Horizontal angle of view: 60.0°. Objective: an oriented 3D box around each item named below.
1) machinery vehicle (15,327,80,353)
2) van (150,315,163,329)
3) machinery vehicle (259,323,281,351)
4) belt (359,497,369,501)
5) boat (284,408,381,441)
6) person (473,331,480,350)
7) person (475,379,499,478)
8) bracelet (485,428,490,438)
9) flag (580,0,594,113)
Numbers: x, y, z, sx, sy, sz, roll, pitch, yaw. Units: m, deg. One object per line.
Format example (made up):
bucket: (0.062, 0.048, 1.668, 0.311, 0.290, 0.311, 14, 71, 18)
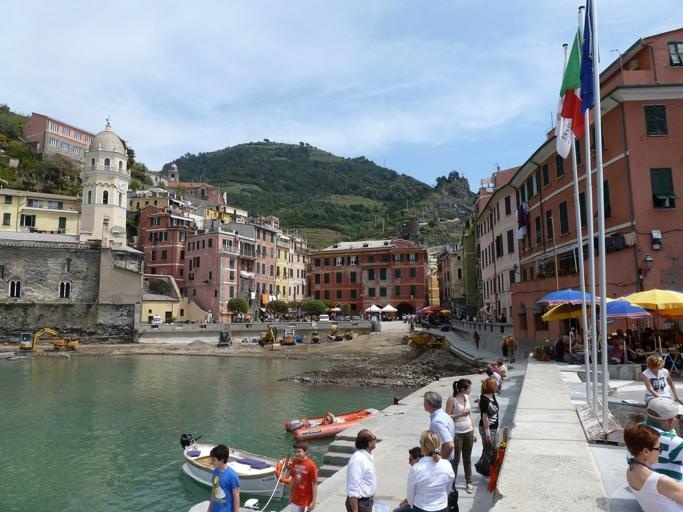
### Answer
machinery vehicle: (-31.431, 8.802, 61.850, 7.522, 3.726, 2.683, 2, -8, -11)
van: (-21.688, 7.695, 69.125, 1.108, 0.839, 1.836, 1, -2, -12)
machinery vehicle: (-7.747, 8.691, 64.218, 2.126, 2.478, 7.367, 3, -7, -7)
belt: (0.542, 5.599, 13.694, 0.227, 0.088, 0.052, 3, -7, -9)
boat: (-0.685, 7.492, 26.394, 3.618, 1.324, 1.897, 3, -7, -5)
person: (10.271, 6.319, 44.983, 0.461, 1.305, 2.132, 1, -7, 13)
person: (4.026, 4.724, 16.312, 0.544, 2.734, 0.835, 1, -7, 12)
bracelet: (3.986, 4.799, 16.039, 0.146, 0.245, 0.172, 5, -8, 21)
flag: (7.765, -6.387, 18.742, 0.346, 3.477, 1.492, 0, -7, 20)
